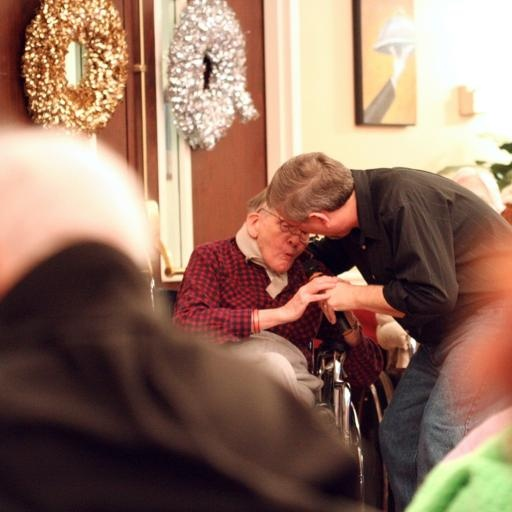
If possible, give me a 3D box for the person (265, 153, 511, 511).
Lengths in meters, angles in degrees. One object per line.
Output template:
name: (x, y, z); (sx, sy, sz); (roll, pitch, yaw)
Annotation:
person: (0.434, 0.315, 2.187); (0.970, 1.688, 0.732); (-3, -14, 5)
